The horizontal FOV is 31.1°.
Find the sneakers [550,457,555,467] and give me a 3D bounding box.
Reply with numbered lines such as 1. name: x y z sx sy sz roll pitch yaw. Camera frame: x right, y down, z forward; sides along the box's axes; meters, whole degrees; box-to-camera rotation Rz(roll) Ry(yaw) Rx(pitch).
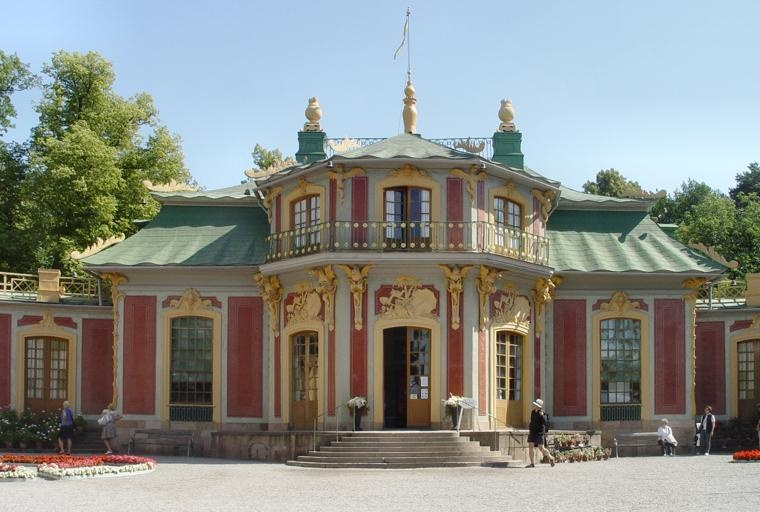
1. sneakers: 6.238 7.347 49.183 0.110 0.295 0.224 23 29 33

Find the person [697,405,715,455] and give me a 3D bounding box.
1. person: 13.172 6.919 54.700 0.629 1.936 1.301 -3 -13 9

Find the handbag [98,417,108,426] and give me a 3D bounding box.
1. handbag: -10.794 6.295 52.942 0.333 0.357 0.429 6 -14 -26

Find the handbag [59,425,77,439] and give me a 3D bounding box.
1. handbag: -12.026 6.654 52.366 0.508 0.550 0.527 -4 -7 20

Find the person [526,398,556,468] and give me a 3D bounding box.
1. person: 5.845 6.349 49.691 0.981 2.543 1.555 -2 -13 7

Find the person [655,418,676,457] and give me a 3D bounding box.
1. person: 11.583 7.143 54.680 0.550 1.517 0.738 11 -18 -41

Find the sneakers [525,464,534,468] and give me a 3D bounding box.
1. sneakers: 5.420 7.426 48.896 0.277 0.113 0.102 -1 -4 41

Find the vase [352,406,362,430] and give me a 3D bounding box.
1. vase: -0.803 6.040 51.403 0.368 0.854 0.473 0 -13 -2
